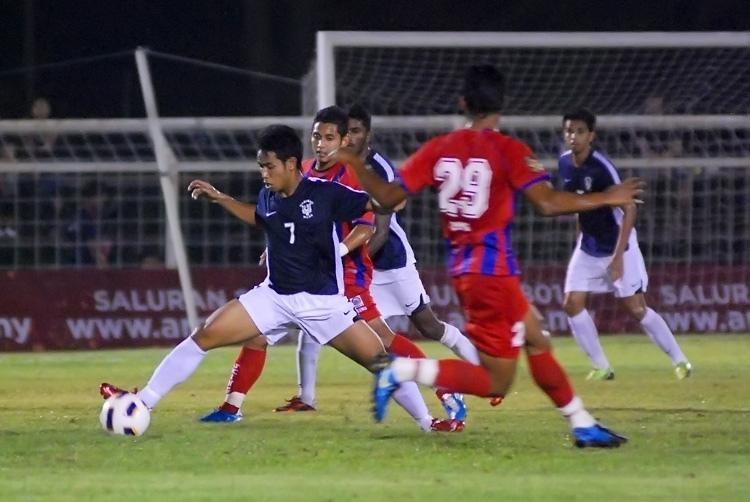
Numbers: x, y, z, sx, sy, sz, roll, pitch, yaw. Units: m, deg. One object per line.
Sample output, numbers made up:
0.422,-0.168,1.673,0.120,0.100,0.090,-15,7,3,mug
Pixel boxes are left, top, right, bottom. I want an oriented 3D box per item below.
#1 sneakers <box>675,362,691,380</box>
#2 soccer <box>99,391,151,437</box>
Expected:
3.891,1.520,16.233,0.243,0.162,0.205,-5,8,4,sneakers
-2.692,1.762,13.735,0.441,0.384,0.519,-12,-8,15,soccer
